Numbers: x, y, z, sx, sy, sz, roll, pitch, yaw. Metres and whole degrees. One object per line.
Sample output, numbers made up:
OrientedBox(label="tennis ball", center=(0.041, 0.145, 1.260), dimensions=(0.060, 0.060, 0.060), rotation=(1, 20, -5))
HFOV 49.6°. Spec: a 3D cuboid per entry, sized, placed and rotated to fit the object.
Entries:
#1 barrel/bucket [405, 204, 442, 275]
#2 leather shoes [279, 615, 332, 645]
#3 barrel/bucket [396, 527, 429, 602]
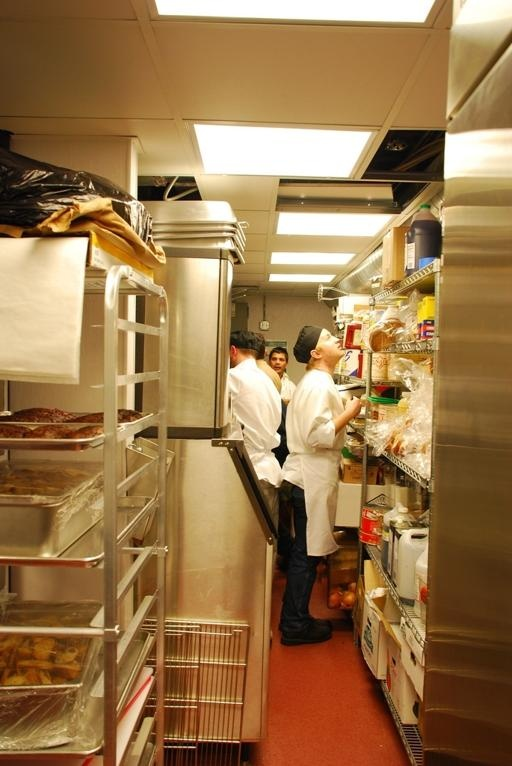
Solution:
OrientedBox(label="barrel/bucket", center=(0.677, -0.601, 2.228), dimensions=(0.136, 0.227, 0.323), rotation=(-1, 0, 9))
OrientedBox(label="leather shoes", center=(0.283, 1.357, 3.087), dimensions=(0.313, 0.142, 0.118), rotation=(-4, 8, -9))
OrientedBox(label="barrel/bucket", center=(0.617, 0.678, 2.087), dimensions=(0.145, 0.216, 0.145), rotation=(2, -9, 0))
